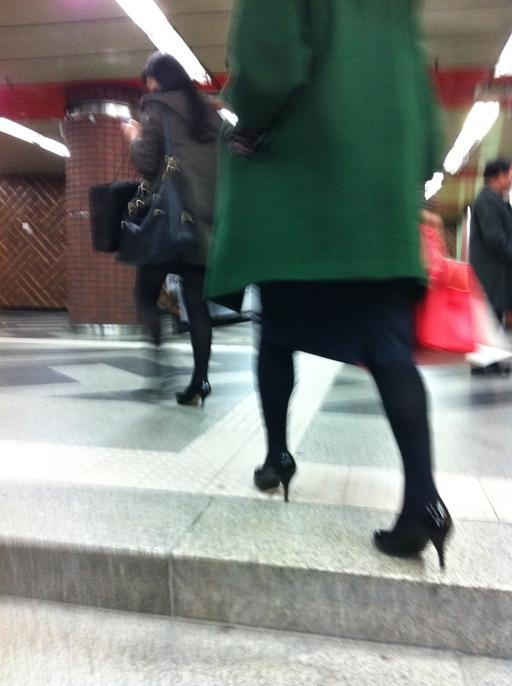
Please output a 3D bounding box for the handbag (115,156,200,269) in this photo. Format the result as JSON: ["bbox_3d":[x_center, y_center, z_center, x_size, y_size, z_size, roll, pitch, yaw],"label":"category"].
[{"bbox_3d":[-0.294,-0.486,1.968,0.168,0.330,0.289,-26,28,-32],"label":"handbag"}]
